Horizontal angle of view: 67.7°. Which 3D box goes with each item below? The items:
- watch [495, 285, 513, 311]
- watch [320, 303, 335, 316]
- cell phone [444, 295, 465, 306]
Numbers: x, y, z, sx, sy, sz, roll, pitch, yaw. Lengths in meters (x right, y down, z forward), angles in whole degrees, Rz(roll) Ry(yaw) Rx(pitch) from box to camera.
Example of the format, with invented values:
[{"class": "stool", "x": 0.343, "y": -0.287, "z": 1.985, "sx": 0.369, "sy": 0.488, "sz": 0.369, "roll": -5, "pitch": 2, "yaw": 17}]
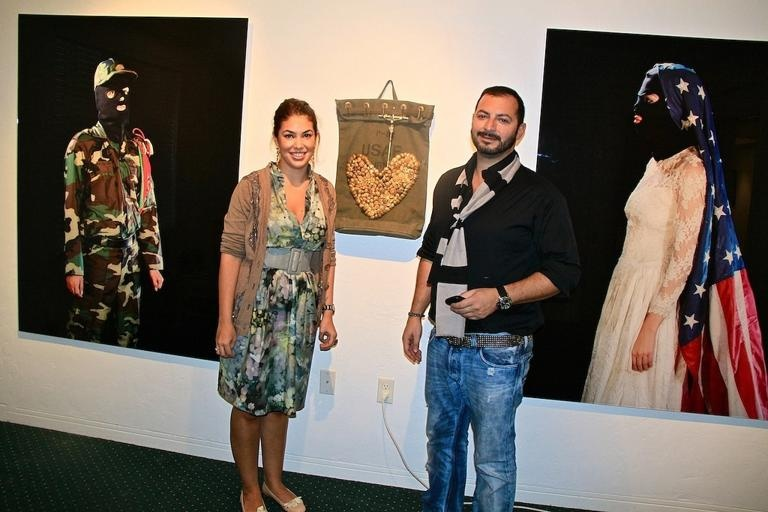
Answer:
[{"class": "watch", "x": 0.603, "y": 0.221, "z": 2.946, "sx": 0.075, "sy": 0.122, "sz": 0.111, "roll": -15, "pitch": -37, "yaw": 0}, {"class": "watch", "x": -0.332, "y": 0.316, "z": 3.396, "sx": 0.069, "sy": 0.045, "sz": 0.070, "roll": 0, "pitch": 0, "yaw": -5}, {"class": "cell phone", "x": 0.359, "y": 0.224, "z": 2.929, "sx": 0.046, "sy": 0.046, "sz": 0.105, "roll": 2, "pitch": 4, "yaw": -45}]
